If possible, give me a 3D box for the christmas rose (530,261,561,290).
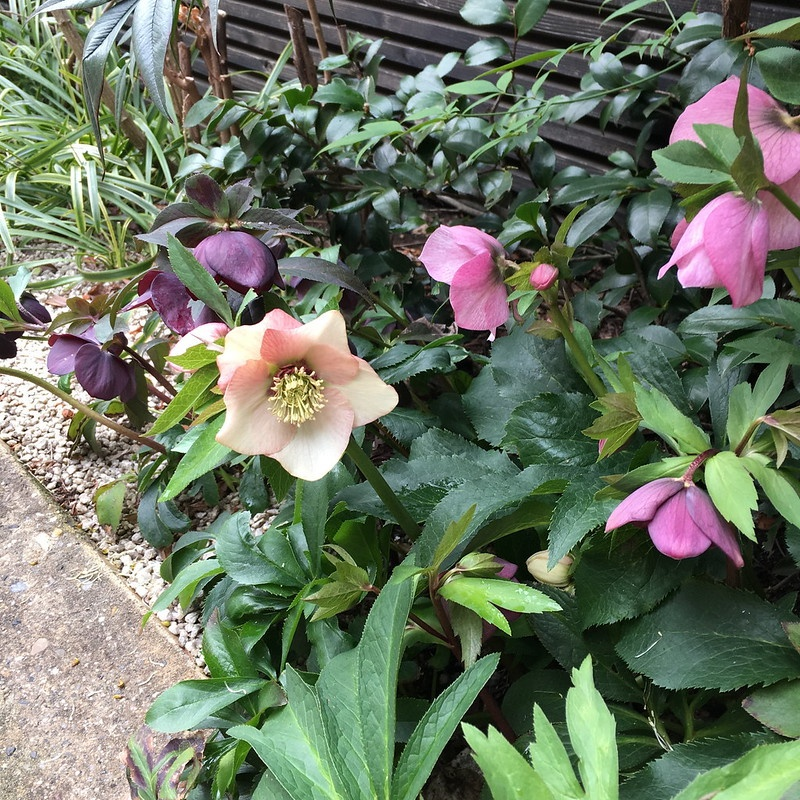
[{"bbox_3d":[0.151,-0.130,0.789,0.028,0.032,0.021,20,39,2],"label":"christmas rose"}]

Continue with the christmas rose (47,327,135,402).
[{"bbox_3d":[-0.606,-0.069,1.498,0.141,0.074,0.142,53,19,7],"label":"christmas rose"}]

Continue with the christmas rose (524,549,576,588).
[{"bbox_3d":[0.181,0.201,0.886,0.068,0.051,0.022,16,76,0],"label":"christmas rose"}]
